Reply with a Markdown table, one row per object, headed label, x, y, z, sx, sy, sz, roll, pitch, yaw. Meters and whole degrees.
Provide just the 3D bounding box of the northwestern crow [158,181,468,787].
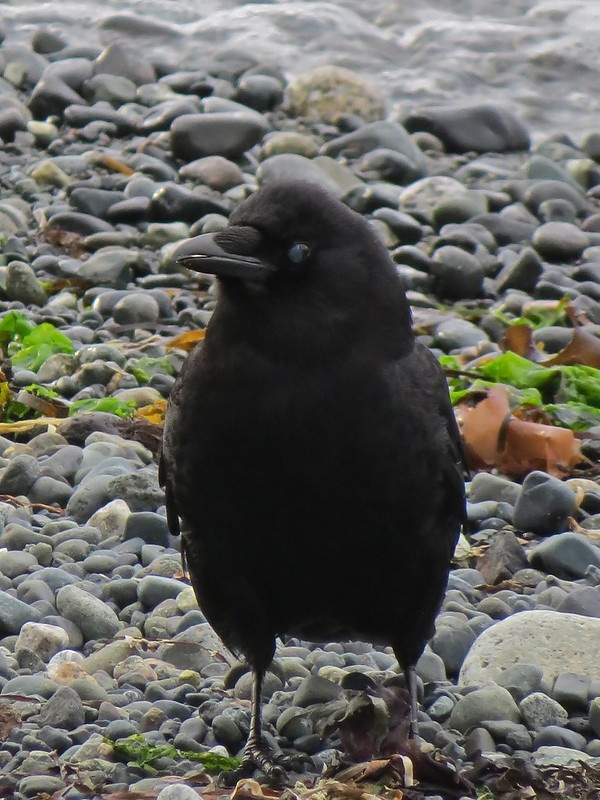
| label | x | y | z | sx | sy | sz | roll | pitch | yaw |
| --- | --- | --- | --- | --- | --- | --- | --- | --- | --- |
| northwestern crow | 0.026 | 0.202 | 2.550 | 0.675 | 1.254 | 0.666 | -3 | 36 | 6 |
